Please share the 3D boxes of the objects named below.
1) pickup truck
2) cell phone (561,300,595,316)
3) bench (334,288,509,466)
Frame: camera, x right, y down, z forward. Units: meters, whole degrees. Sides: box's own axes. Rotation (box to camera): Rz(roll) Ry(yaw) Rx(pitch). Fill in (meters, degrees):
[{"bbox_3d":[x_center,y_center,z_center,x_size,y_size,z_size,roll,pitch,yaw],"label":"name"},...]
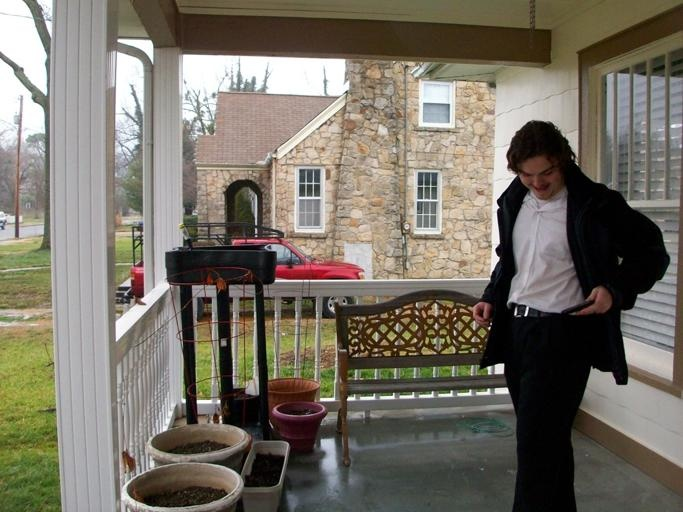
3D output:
[{"bbox_3d":[-1.264,0.452,10.399,3.101,1.158,1.360,-1,4,-6],"label":"pickup truck"},{"bbox_3d":[1.223,0.270,3.210,0.125,0.025,0.225,-23,-17,40],"label":"cell phone"},{"bbox_3d":[0.767,0.849,4.581,1.526,1.198,0.589,-1,-2,-4],"label":"bench"}]
